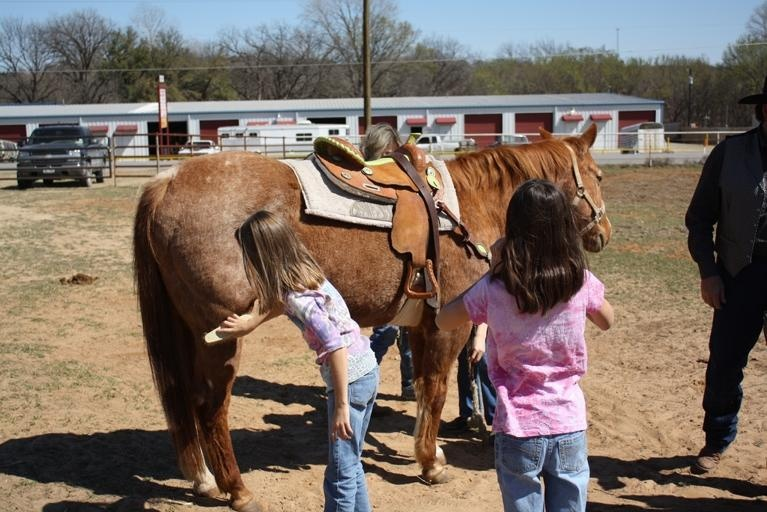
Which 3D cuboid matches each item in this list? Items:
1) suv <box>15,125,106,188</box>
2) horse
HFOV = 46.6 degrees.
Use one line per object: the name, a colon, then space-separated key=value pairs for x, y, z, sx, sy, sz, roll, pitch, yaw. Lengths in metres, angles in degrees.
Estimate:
suv: x=-7.759 y=-2.529 z=21.876 sx=1.334 sy=0.985 sz=2.417 roll=-1 pitch=1 yaw=-4
horse: x=-0.121 y=0.766 z=9.232 sx=4.251 sy=3.350 sz=1.283 roll=-1 pitch=4 yaw=-11
